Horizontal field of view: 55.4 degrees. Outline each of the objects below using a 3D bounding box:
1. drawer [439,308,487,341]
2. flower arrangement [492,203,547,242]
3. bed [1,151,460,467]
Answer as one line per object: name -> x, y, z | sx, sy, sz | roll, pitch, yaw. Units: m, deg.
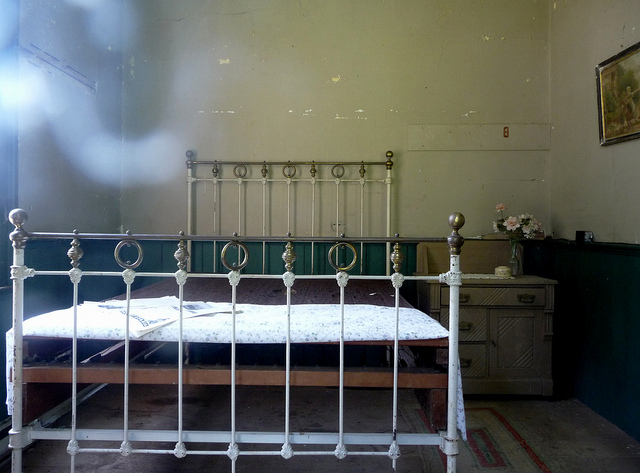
drawer -> 0.890, 0.516, 3.870 | 0.299, 0.230, 0.242 | 3, 3, -1
flower arrangement -> 1.342, -0.089, 4.103 | 0.310, 0.246, 0.436 | 0, 3, 22
bed -> -0.519, 0.300, 3.589 | 2.424, 1.750, 1.694 | -1, 2, 3
